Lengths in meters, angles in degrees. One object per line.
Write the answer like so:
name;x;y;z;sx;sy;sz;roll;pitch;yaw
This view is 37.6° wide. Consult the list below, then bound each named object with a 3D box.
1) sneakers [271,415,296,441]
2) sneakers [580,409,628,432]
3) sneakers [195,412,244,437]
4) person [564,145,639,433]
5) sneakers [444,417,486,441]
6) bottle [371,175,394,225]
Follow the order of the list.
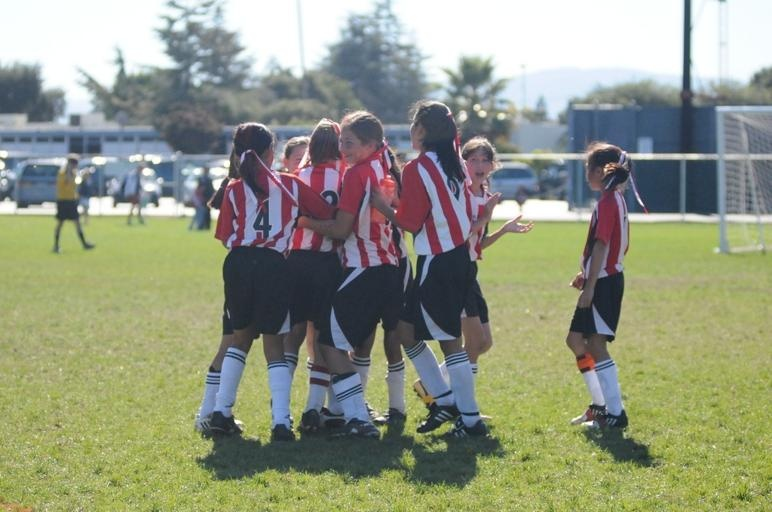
sneakers;-0.988;1.654;10.856;0.233;0.241;0.185;-1;5;-8
sneakers;2.137;1.613;11.134;0.449;0.202;0.170;3;-3;3
sneakers;-1.633;1.627;10.988;0.497;0.240;0.197;0;2;-6
person;2.096;0.287;11.155;0.577;2.736;0.475;1;5;10
sneakers;0.795;1.694;11.034;0.441;0.248;0.155;-1;-1;10
bottle;-0.004;-0.567;10.887;0.125;0.370;0.258;13;5;6
